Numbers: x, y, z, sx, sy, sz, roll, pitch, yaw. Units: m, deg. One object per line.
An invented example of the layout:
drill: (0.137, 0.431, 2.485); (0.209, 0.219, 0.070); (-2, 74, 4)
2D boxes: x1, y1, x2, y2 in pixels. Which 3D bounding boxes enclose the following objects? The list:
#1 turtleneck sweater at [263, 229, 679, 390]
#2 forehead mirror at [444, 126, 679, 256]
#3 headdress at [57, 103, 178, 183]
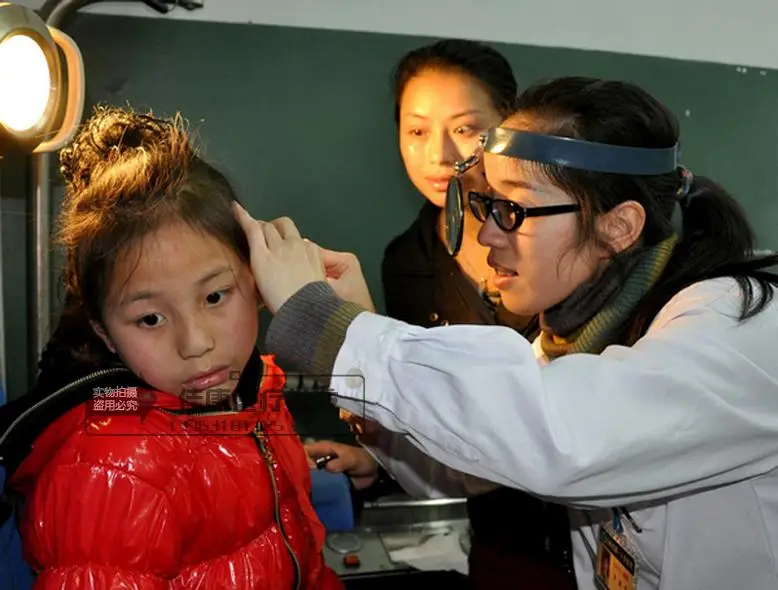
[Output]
turtleneck sweater: (0.100, -0.007, 1.419); (0.494, 0.207, 0.402); (-9, 18, -5)
forehead mirror: (0.350, -0.276, 1.529); (0.309, 0.162, 0.330); (-4, 13, 4)
headdress: (-0.519, -0.242, 1.381); (0.173, 0.085, 0.154); (-30, 9, 4)
